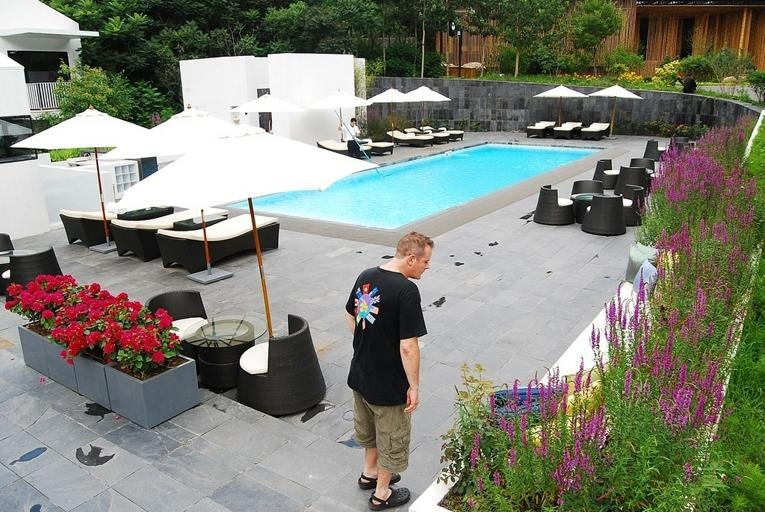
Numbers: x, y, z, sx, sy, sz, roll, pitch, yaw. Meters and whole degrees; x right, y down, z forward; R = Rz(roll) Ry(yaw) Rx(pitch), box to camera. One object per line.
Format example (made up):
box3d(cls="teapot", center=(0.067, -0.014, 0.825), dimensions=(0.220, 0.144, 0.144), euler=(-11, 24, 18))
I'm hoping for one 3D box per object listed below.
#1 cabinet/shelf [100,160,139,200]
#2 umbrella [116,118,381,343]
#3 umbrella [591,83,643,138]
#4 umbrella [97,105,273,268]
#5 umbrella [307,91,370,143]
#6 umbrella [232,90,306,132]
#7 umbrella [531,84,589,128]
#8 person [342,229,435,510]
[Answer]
box3d(cls="cabinet/shelf", center=(-7.232, -2.107, 13.976), dimensions=(0.866, 0.795, 0.304), euler=(-16, 10, -36))
box3d(cls="umbrella", center=(-1.450, -0.201, 5.460), dimensions=(1.533, 1.096, 1.516), euler=(23, 24, 27))
box3d(cls="umbrella", center=(11.959, -7.284, 25.430), dimensions=(2.725, 2.428, 2.643), euler=(1, 13, 3))
box3d(cls="umbrella", center=(-1.671, -1.225, 6.387), dimensions=(2.005, 1.001, 2.083), euler=(8, 30, 15))
box3d(cls="umbrella", center=(-1.796, -5.249, 19.801), dimensions=(2.116, 1.665, 2.265), euler=(3, 19, 18))
box3d(cls="umbrella", center=(-3.957, -4.998, 17.327), dimensions=(2.644, 1.242, 2.685), euler=(-11, 15, -37))
box3d(cls="umbrella", center=(8.928, -7.707, 25.280), dimensions=(1.803, 1.738, 1.758), euler=(6, 31, 23))
box3d(cls="person", center=(0.056, 1.006, 4.306), dimensions=(0.705, 2.320, 0.699), euler=(-4, 19, -5))
